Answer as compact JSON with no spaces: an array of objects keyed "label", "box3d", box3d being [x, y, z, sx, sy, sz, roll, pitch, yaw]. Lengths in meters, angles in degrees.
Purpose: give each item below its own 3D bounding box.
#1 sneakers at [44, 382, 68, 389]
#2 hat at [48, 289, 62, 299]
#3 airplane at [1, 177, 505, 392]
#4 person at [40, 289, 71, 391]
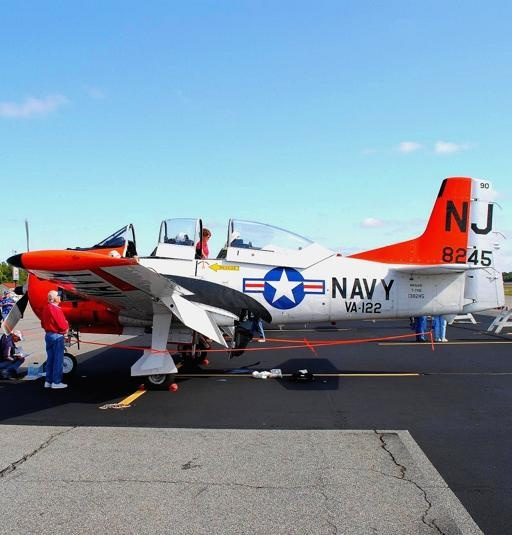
[{"label":"sneakers","box3d":[-2.929,1.712,7.493,0.355,0.101,0.109,1,2,-3]},{"label":"hat","box3d":[-3.089,0.410,7.812,0.170,0.129,0.123,-28,38,-25]},{"label":"airplane","box3d":[0.584,0.230,8.201,5.495,1.867,5.682,1,-2,2]},{"label":"person","box3d":[-2.960,1.062,7.519,0.360,1.420,0.405,1,-2,-19]}]
